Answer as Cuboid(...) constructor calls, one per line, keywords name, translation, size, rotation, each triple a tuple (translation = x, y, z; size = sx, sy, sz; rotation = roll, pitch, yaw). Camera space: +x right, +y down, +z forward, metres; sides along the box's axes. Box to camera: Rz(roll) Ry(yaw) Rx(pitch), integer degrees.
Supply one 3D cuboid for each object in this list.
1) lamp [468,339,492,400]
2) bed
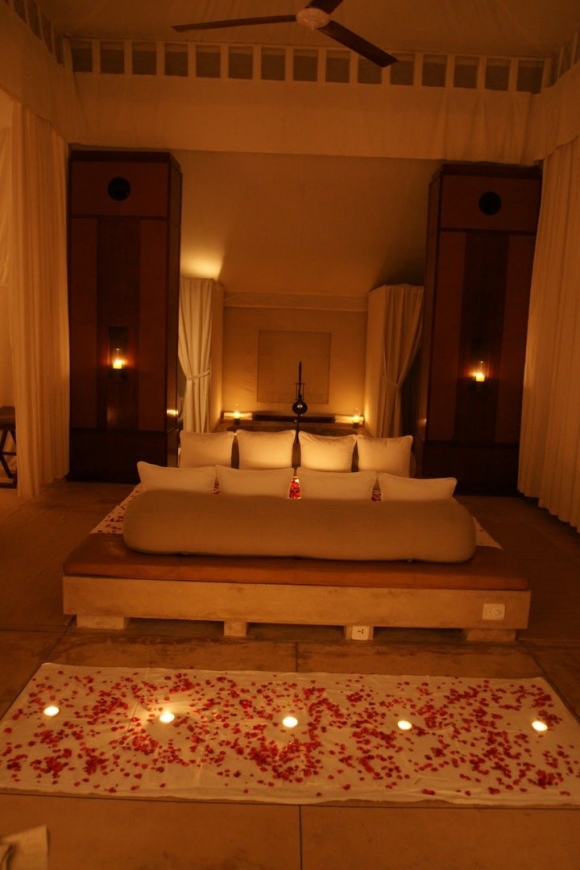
Cuboid(name="lamp", translation=(1.773, -0.603, 6.133), size=(0.215, 0.581, 0.216), rotation=(0, -9, -43))
Cuboid(name="bed", translation=(0.028, 0.511, 3.015), size=(1.138, 0.401, 1.259), rotation=(0, 8, -1))
